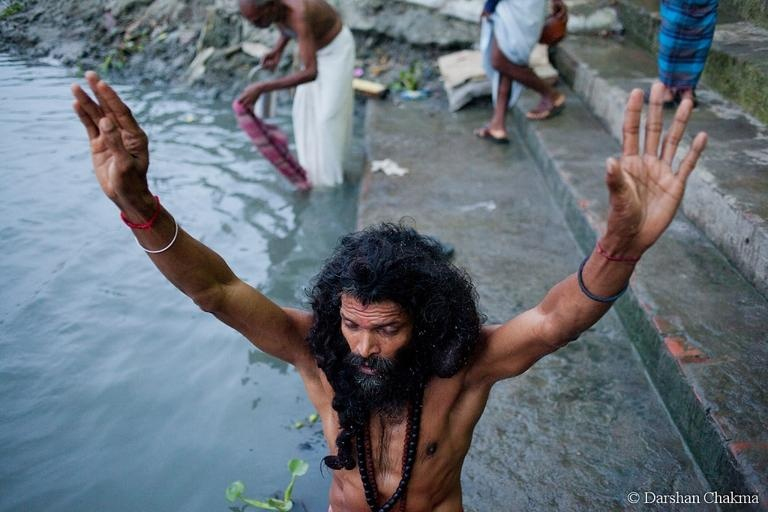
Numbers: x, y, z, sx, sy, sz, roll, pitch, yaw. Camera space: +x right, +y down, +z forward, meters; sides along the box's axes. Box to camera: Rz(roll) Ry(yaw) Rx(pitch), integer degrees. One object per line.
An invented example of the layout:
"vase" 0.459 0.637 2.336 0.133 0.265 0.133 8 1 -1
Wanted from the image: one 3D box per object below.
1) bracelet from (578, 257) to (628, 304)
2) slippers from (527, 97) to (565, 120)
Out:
"bracelet" 1.148 0.142 3.472 0.251 0.220 0.128 11 37 16
"slippers" 1.764 -1.575 7.122 0.393 0.163 0.215 -25 43 8
